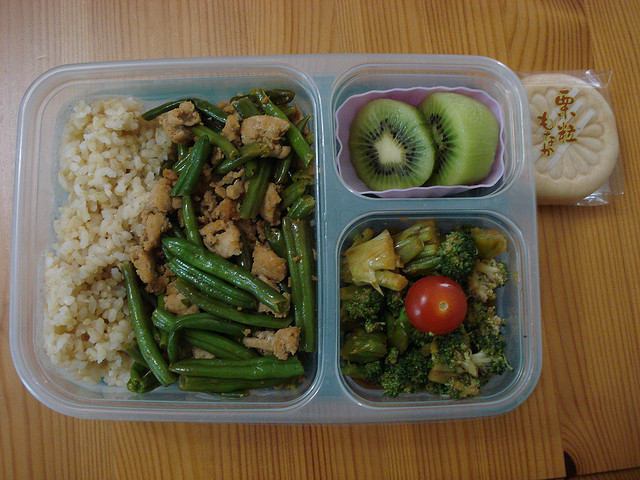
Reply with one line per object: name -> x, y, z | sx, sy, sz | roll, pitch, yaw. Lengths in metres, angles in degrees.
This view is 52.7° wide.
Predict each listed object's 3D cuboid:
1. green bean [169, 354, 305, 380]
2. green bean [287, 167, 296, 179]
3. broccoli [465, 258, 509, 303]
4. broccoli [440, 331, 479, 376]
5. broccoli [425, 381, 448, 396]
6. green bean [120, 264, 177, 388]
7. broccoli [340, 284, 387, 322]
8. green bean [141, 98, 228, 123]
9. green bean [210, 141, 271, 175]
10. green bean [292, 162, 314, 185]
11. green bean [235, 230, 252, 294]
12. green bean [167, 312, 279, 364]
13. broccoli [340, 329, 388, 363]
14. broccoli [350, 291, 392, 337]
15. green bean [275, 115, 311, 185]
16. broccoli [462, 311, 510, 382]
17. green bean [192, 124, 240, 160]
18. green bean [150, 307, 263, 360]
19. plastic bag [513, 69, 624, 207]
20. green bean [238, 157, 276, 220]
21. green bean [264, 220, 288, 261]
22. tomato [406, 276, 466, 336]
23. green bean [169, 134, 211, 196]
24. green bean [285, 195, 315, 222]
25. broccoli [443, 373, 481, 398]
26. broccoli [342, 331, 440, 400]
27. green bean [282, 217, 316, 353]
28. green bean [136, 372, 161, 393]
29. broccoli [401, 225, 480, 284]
green bean -> -0.457, 0.702, 3.546 | 0.733, 0.121, 0.084 | -3, -10, 3
green bean -> -0.168, -0.390, 3.758 | 0.036, 0.058, 0.015 | -4, -26, 24
broccoli -> 0.940, 0.219, 3.658 | 0.204, 0.260, 0.072 | 22, 4, 23
broccoli -> 0.773, 0.627, 3.590 | 0.222, 0.230, 0.077 | -4, -43, 51
broccoli -> 0.654, 0.826, 3.630 | 0.060, 0.048, 0.103 | -1, 2, 0
green bean -> -0.969, 0.508, 3.645 | 0.180, 1.015, 0.132 | -13, -13, -19
broccoli -> 0.263, 0.324, 3.665 | 0.163, 0.203, 0.285 | 7, 23, 31
green bean -> -0.754, -0.690, 3.554 | 0.401, 0.157, 0.371 | -6, 12, -4
green bean -> -0.454, -0.467, 3.643 | 0.372, 0.104, 0.132 | -19, -11, 0
green bean -> -0.094, -0.378, 3.700 | 0.110, 0.130, 0.041 | 6, -18, 11
green bean -> -0.430, 0.126, 3.688 | 0.069, 0.351, 0.083 | -4, -6, -6
green bean -> -0.547, 0.512, 3.615 | 0.539, 0.312, 0.119 | 2, -2, 0
broccoli -> 0.250, 0.576, 3.636 | 0.185, 0.190, 0.220 | 7, 18, 32
broccoli -> 0.280, 0.405, 3.643 | 0.215, 0.136, 0.250 | 33, 27, -22
green bean -> -0.136, -0.505, 3.722 | 0.140, 0.388, 0.220 | 0, 24, 6
broccoli -> 0.913, 0.627, 3.661 | 0.232, 0.181, 0.363 | 30, 36, 15
green bean -> -0.584, -0.546, 3.635 | 0.231, 0.062, 0.056 | 39, 25, -1
green bean -> -0.625, 0.515, 3.586 | 0.446, 0.102, 0.086 | 25, 17, 4
plastic bag -> 1.501, -0.625, 3.937 | 0.690, 0.812, 0.261 | -6, -1, -6
green bean -> -0.345, -0.302, 3.676 | 0.148, 0.304, 0.263 | -5, 19, -5
green bean -> -0.246, -0.002, 3.686 | 0.053, 0.221, 0.117 | -23, -8, -16
tomato -> 0.641, 0.354, 3.557 | 0.324, 0.317, 0.143 | -2, -10, 3
green bean -> -0.708, -0.399, 3.610 | 0.144, 0.347, 0.207 | -22, 32, -39
green bean -> -0.117, -0.184, 3.661 | 0.067, 0.143, 0.063 | 27, 31, -24
broccoli -> 0.790, 0.810, 3.581 | 0.159, 0.127, 0.062 | -2, -2, 8
broccoli -> 0.397, 0.728, 3.604 | 0.443, 0.223, 0.368 | -7, -18, 0
green bean -> -0.118, 0.239, 3.547 | 0.142, 0.785, 0.126 | -4, -5, 0
green bean -> -0.964, 0.802, 3.607 | 0.125, 0.086, 0.110 | -38, -10, -3
broccoli -> 0.705, 0.139, 3.644 | 0.448, 0.254, 0.146 | -31, -10, -2
